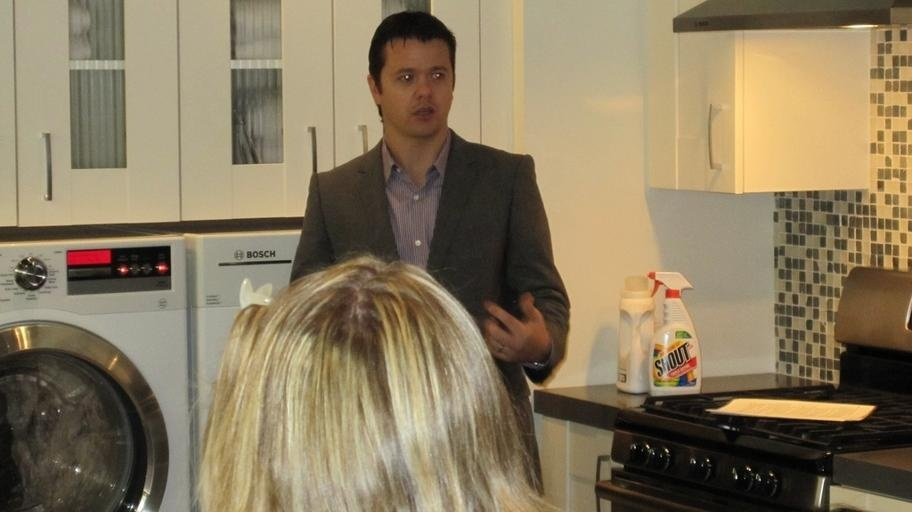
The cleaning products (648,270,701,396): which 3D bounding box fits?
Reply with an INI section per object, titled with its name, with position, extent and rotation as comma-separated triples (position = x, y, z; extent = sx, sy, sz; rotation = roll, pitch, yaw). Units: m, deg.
[cleaning products]
position = 0.838, 0.299, 3.641
extent = 0.164, 0.479, 0.187
rotation = -2, 0, 40
